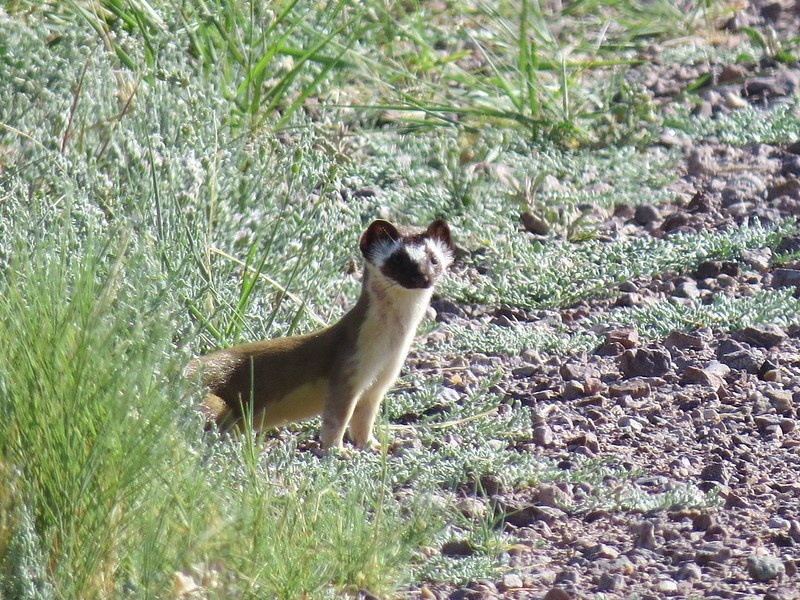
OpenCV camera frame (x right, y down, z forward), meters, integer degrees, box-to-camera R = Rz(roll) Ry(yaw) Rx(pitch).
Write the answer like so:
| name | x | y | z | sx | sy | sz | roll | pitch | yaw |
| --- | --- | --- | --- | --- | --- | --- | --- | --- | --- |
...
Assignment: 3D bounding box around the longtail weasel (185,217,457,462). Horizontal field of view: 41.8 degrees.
| name | x | y | z | sx | sy | sz | roll | pitch | yaw |
| --- | --- | --- | --- | --- | --- | --- | --- | --- | --- |
| longtail weasel | -0.291 | 0.249 | 4.911 | 0.534 | 1.027 | 1.294 | 10 | -14 | -41 |
